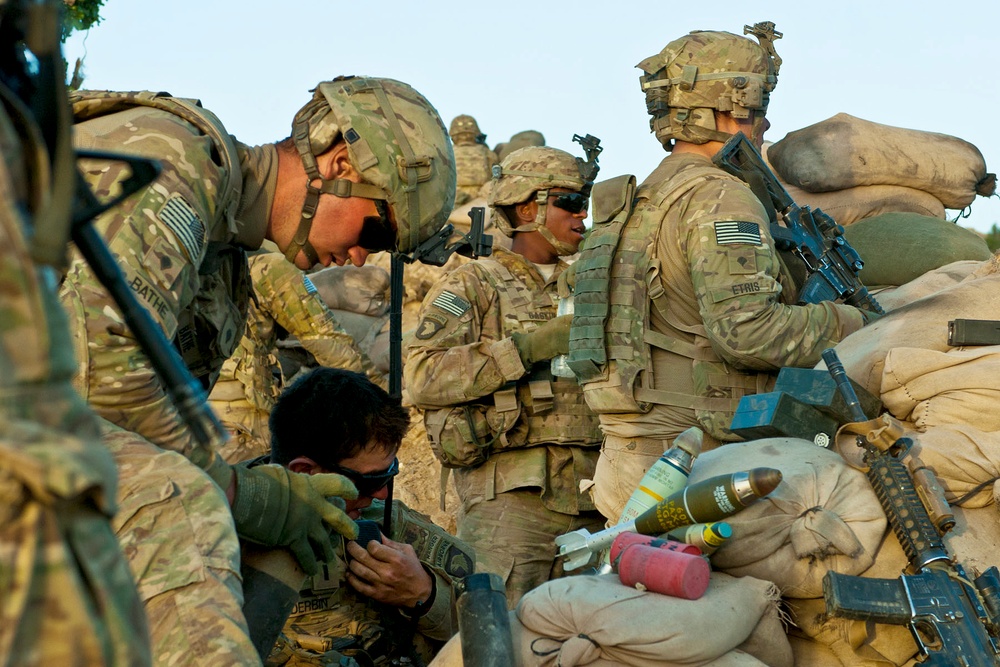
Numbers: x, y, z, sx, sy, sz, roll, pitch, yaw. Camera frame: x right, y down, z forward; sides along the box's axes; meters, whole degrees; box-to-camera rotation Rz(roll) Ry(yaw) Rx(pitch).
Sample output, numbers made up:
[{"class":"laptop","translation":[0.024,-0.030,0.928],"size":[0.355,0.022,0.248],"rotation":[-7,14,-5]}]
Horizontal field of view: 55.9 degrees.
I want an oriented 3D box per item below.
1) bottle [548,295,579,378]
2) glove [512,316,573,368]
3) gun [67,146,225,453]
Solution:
[{"class":"bottle","translation":[0.330,0.022,5.053],"size":[0.126,0.357,0.262],"rotation":[5,-1,-34]},{"class":"glove","translation":[0.243,0.030,5.020],"size":[0.275,0.122,0.283],"rotation":[-30,6,28]},{"class":"gun","translation":[-0.987,-0.117,2.604],"size":[0.086,1.286,0.459],"rotation":[-24,-44,1]}]
